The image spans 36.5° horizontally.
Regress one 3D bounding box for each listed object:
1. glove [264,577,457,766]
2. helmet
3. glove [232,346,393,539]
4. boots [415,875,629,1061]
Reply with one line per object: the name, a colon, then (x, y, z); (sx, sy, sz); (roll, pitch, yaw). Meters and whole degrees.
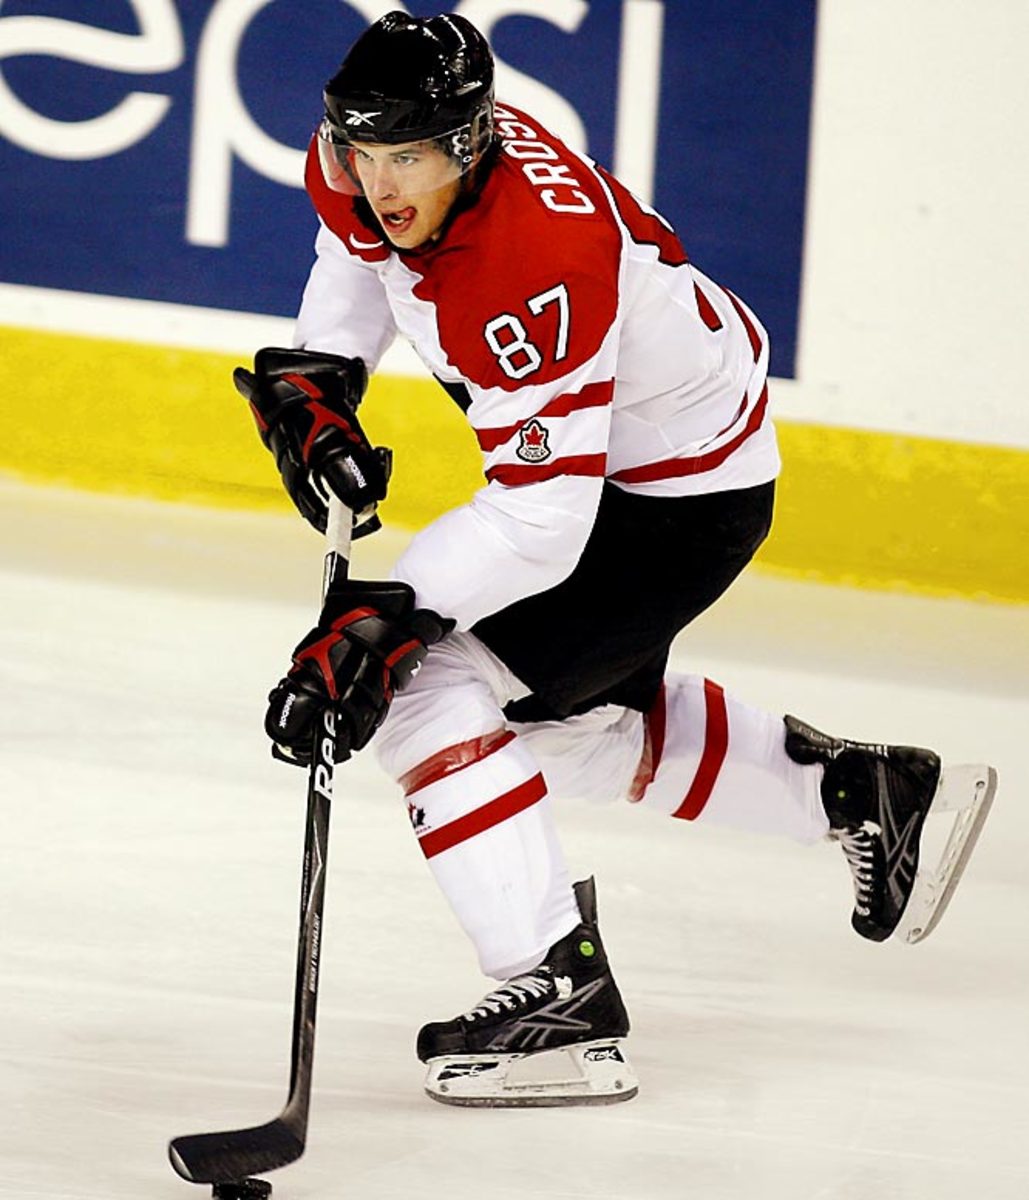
glove: (-0.174, 0.084, 1.604); (0.140, 0.083, 0.189); (11, 66, 32)
helmet: (-0.098, -0.526, 1.642); (0.194, 0.164, 0.223); (9, 17, 28)
glove: (-0.237, -0.174, 1.939); (0.200, 0.107, 0.249); (-16, 50, -2)
boots: (-0.003, 0.422, 1.650); (0.226, 0.104, 0.100); (-7, 28, -15)
